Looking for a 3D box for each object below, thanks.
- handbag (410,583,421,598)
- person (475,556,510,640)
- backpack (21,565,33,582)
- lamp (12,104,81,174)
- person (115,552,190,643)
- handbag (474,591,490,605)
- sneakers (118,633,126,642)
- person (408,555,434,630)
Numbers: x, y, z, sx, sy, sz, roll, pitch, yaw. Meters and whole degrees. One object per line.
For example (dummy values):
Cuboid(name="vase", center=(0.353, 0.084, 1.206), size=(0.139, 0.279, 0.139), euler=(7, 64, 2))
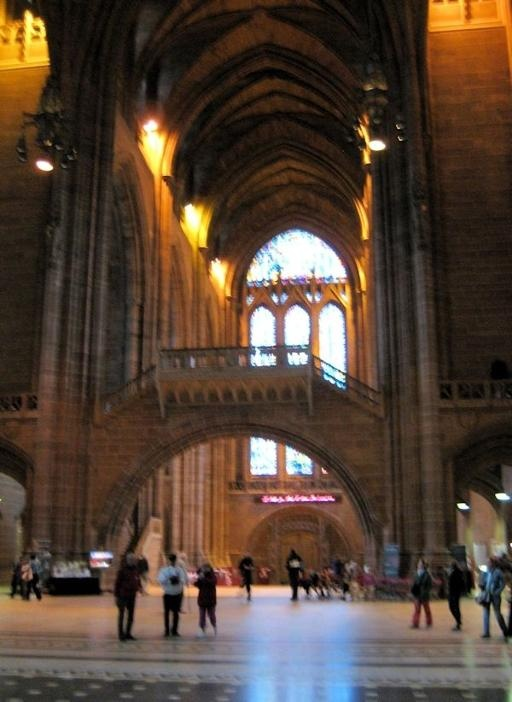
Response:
Cuboid(name="handbag", center=(2.197, 3.304, 13.738), size=(0.110, 0.212, 0.244), euler=(0, -14, 0))
Cuboid(name="person", center=(2.991, 3.137, 12.646), size=(0.341, 0.981, 1.261), euler=(-3, -14, 12))
Cuboid(name="backpack", center=(-4.471, 4.329, 19.422), size=(0.221, 0.339, 0.362), euler=(3, -14, -12))
Cuboid(name="lamp", center=(-3.920, -4.072, 18.655), size=(0.838, 1.325, 0.799), euler=(-17, -18, 12))
Cuboid(name="person", center=(-1.318, 3.055, 12.387), size=(0.834, 0.998, 1.812), euler=(1, -14, -4))
Cuboid(name="handbag", center=(2.841, 3.107, 12.454), size=(0.158, 0.160, 0.261), euler=(-3, -14, 12))
Cuboid(name="sneakers", center=(-1.547, 3.308, 11.463), size=(0.071, 0.078, 0.186), euler=(2, -14, -8))
Cuboid(name="person", center=(2.311, 3.409, 13.962), size=(0.309, 0.930, 0.957), euler=(-2, -14, 8))
